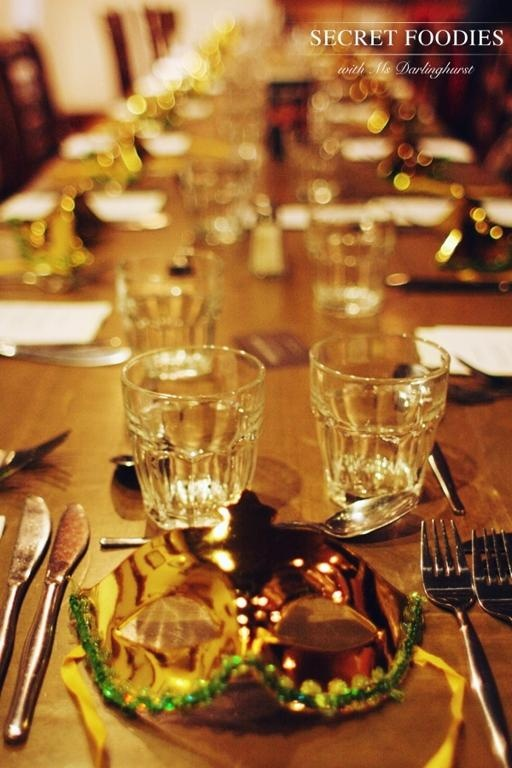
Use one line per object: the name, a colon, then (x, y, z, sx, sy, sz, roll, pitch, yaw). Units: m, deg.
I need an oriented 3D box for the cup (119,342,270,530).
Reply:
cup: (-0.024, 0.053, 0.563, 0.140, 0.158, 0.139, 0, 31, 0)
